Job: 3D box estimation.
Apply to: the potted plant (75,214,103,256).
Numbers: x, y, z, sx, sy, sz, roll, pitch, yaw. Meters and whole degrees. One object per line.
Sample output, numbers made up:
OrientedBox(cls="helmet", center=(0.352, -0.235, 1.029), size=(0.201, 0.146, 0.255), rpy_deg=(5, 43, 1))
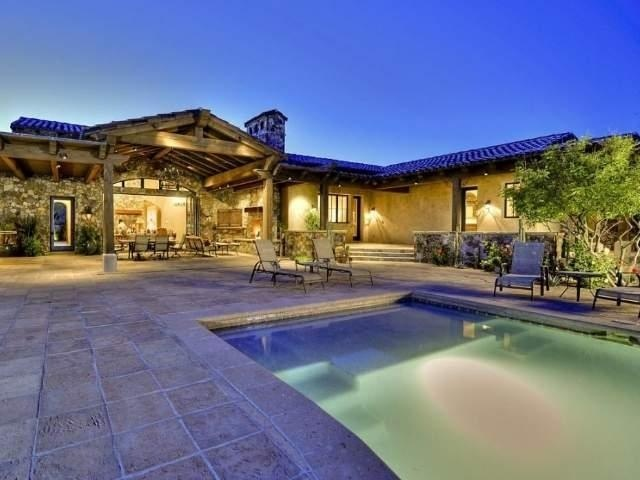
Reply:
OrientedBox(cls="potted plant", center=(-9.502, -0.283, 13.643), size=(0.907, 1.724, 0.804), rpy_deg=(-5, 10, -33))

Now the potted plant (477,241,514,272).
OrientedBox(cls="potted plant", center=(4.752, 0.428, 8.942), size=(0.874, 0.906, 0.690), rpy_deg=(3, -4, -9))

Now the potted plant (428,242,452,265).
OrientedBox(cls="potted plant", center=(3.939, 0.484, 10.794), size=(0.510, 0.606, 0.300), rpy_deg=(-7, -15, 43))
